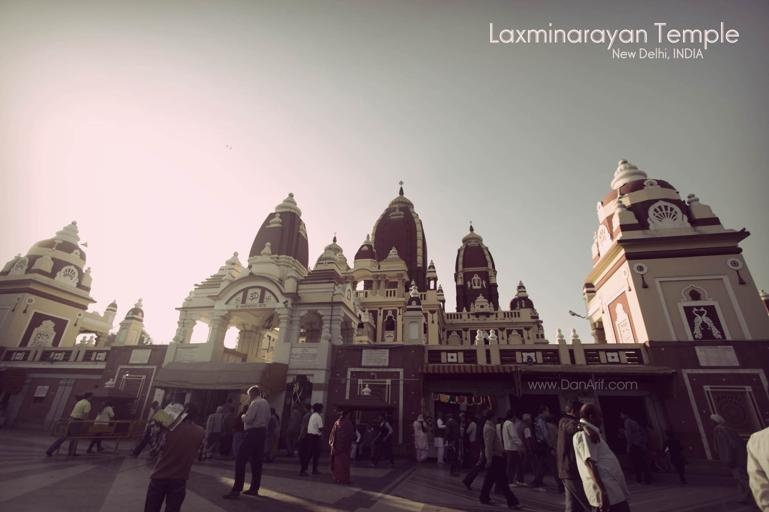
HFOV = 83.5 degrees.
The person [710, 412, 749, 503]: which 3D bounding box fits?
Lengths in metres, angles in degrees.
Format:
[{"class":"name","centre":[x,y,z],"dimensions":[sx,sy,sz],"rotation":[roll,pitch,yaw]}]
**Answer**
[{"class":"person","centre":[10.296,6.021,12.807],"dimensions":[0.687,2.280,1.364],"rotation":[-7,-18,34]}]

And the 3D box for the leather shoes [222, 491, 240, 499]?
[{"class":"leather shoes","centre":[-4.055,6.416,11.454],"dimensions":[0.469,0.172,0.162],"rotation":[3,-30,0]}]
